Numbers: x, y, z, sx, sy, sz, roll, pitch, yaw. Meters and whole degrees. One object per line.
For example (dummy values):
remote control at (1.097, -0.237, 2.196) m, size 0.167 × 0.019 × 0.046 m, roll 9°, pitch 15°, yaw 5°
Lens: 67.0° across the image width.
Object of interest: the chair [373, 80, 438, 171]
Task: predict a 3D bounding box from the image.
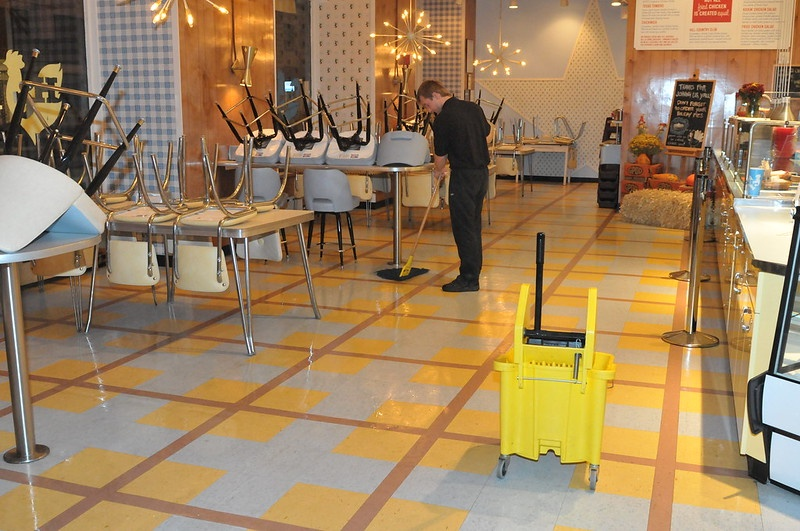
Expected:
chair at (0.022, -1.512, 6.859) m, size 0.491 × 0.779 × 0.834 m, roll 2°, pitch 12°, yaw 1°

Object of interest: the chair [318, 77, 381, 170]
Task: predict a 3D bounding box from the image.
chair at (-0.681, -1.605, 6.906) m, size 0.738 × 0.794 × 0.599 m, roll 8°, pitch 23°, yaw -9°

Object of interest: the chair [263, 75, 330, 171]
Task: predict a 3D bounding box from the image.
chair at (-1.094, -1.681, 7.041) m, size 0.610 × 0.681 × 0.598 m, roll -2°, pitch 27°, yaw -15°

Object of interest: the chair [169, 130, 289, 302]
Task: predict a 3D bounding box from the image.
chair at (-1.376, -0.363, 4.650) m, size 0.725 × 1.199 × 0.868 m, roll -1°, pitch 15°, yaw 5°

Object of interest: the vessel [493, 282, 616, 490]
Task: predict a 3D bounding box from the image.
vessel at (0.895, 0.634, 3.217) m, size 0.637 × 0.929 × 0.615 m, roll 1°, pitch -1°, yaw 40°

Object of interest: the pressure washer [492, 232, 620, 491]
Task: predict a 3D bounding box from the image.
pressure washer at (0.817, 0.529, 3.172) m, size 0.660 × 1.082 × 0.496 m, roll 2°, pitch 7°, yaw 16°

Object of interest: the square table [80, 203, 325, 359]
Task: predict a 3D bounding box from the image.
square table at (-1.313, 0.106, 4.979) m, size 1.085 × 0.927 × 0.912 m, roll 2°, pitch 11°, yaw 35°

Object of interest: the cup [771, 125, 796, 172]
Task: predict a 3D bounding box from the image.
cup at (2.842, -0.854, 4.461) m, size 0.153 × 0.307 × 0.104 m, roll 7°, pitch 18°, yaw 29°

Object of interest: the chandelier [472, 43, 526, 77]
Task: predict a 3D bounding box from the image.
chandelier at (2.368, -4.840, 14.229) m, size 0.983 × 0.957 × 1.042 m, roll 7°, pitch 9°, yaw 16°
